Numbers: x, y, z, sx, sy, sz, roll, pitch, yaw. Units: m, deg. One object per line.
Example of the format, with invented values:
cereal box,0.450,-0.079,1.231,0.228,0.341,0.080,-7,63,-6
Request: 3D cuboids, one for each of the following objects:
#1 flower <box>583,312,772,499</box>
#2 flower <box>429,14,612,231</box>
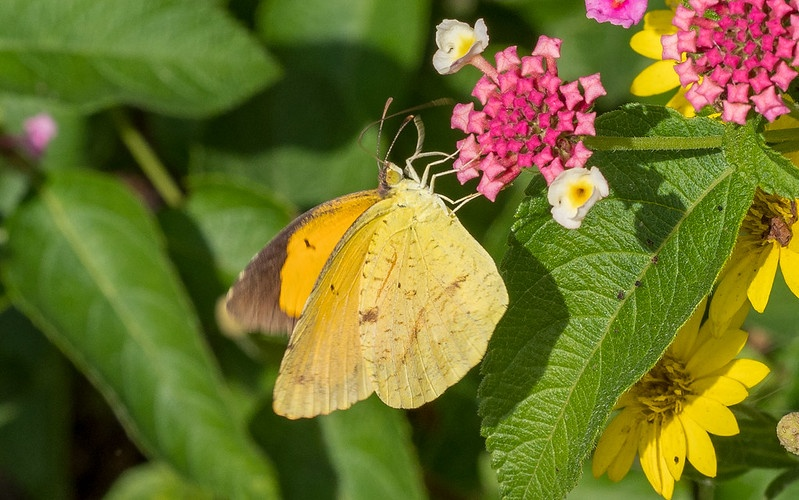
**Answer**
flower,0.865,0.472,2.609,0.393,0.547,0.373,19,32,36
flower,0.424,-0.387,2.601,0.652,0.447,0.195,57,24,14
